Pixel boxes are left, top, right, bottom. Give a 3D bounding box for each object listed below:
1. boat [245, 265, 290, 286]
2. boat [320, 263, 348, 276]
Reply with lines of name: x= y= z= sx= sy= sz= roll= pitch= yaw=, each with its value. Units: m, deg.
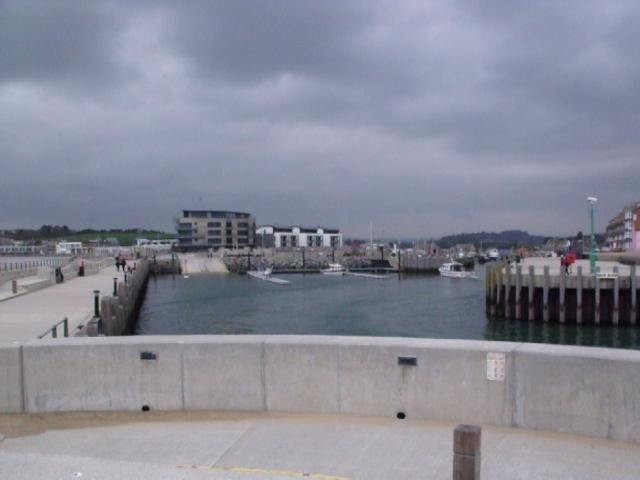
boat: x=-8.520 y=6.468 z=110.749 sx=2.845 sy=3.061 sz=16.585 roll=3 pitch=4 yaw=-17
boat: x=2.590 y=5.417 z=129.045 sx=4.686 sy=2.238 sz=13.202 roll=-1 pitch=-4 yaw=0
